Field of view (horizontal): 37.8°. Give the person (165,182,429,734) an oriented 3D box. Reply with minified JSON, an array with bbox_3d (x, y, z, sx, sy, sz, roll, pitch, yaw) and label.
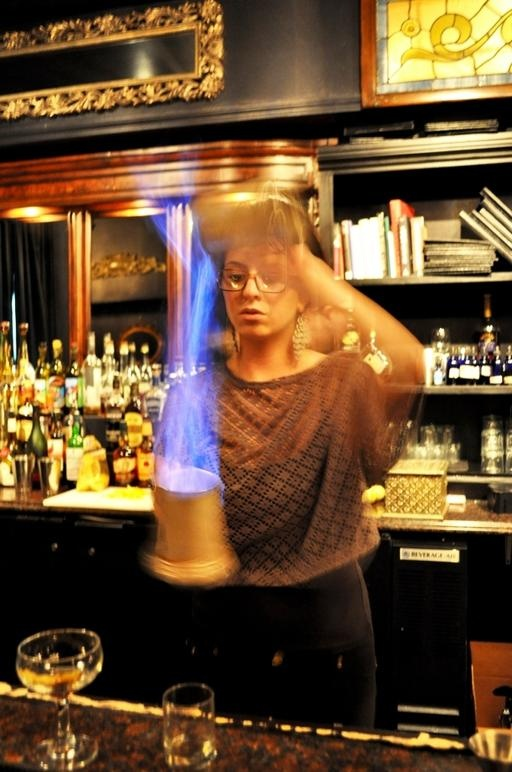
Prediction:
[{"bbox_3d":[0.086,0.166,1.267,0.478,0.930,0.313,0,4,39],"label":"person"}]

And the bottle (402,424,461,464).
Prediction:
[{"bbox_3d":[0.584,0.200,2.487,0.156,0.203,0.166,1,-4,0],"label":"bottle"}]
